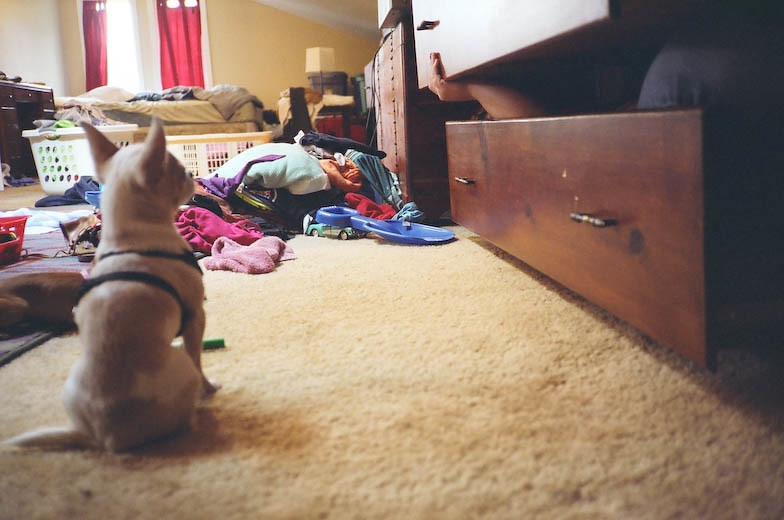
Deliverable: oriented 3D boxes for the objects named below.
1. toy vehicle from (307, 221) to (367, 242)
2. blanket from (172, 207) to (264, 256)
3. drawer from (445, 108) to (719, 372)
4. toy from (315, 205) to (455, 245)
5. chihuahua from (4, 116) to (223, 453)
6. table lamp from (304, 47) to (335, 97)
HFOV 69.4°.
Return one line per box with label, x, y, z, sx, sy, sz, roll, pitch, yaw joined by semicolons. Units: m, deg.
toy vehicle;-0.249;-0.136;2.381;0.164;0.050;0.102;4;13;19
blanket;-0.686;-0.128;2.239;0.250;0.082;0.251;5;7;28
drawer;0.388;-0.047;1.121;0.135;0.501;0.537;-7;11;-23
toy;-0.056;-0.142;2.296;0.634;0.086;0.206;12;21;30
chihuahua;-0.510;0.039;1.016;0.313;0.562;0.244;-3;15;-6
table lamp;-0.719;-1.942;5.632;0.263;0.322;0.146;-1;14;1
